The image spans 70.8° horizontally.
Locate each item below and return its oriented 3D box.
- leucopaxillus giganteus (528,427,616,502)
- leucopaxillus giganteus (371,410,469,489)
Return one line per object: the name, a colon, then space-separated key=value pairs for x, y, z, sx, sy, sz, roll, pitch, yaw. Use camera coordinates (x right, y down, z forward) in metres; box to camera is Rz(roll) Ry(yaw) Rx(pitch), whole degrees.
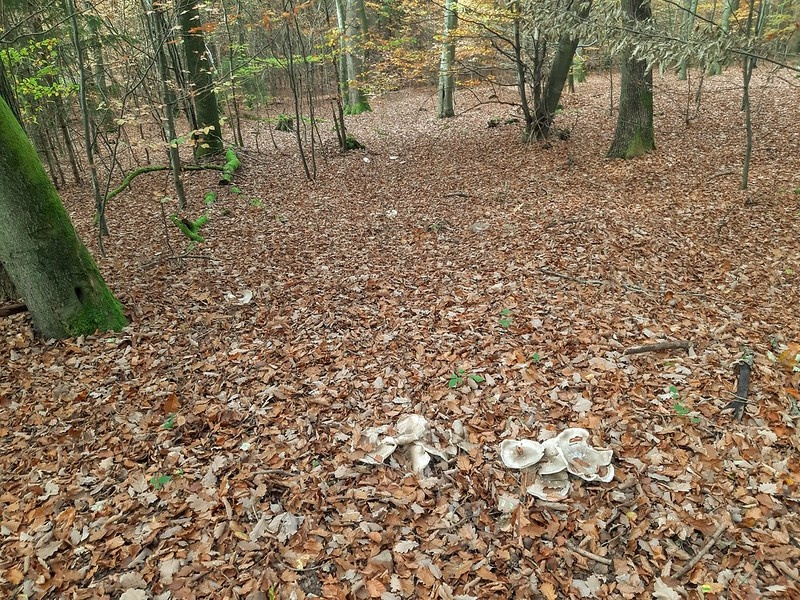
leucopaxillus giganteus: x=1.703 y=1.731 z=5.734 sx=0.618 sy=0.204 sz=0.671 roll=2 pitch=50 yaw=35
leucopaxillus giganteus: x=0.190 y=1.582 z=5.991 sx=0.757 sy=0.265 sz=0.723 roll=-24 pitch=41 yaw=-33
